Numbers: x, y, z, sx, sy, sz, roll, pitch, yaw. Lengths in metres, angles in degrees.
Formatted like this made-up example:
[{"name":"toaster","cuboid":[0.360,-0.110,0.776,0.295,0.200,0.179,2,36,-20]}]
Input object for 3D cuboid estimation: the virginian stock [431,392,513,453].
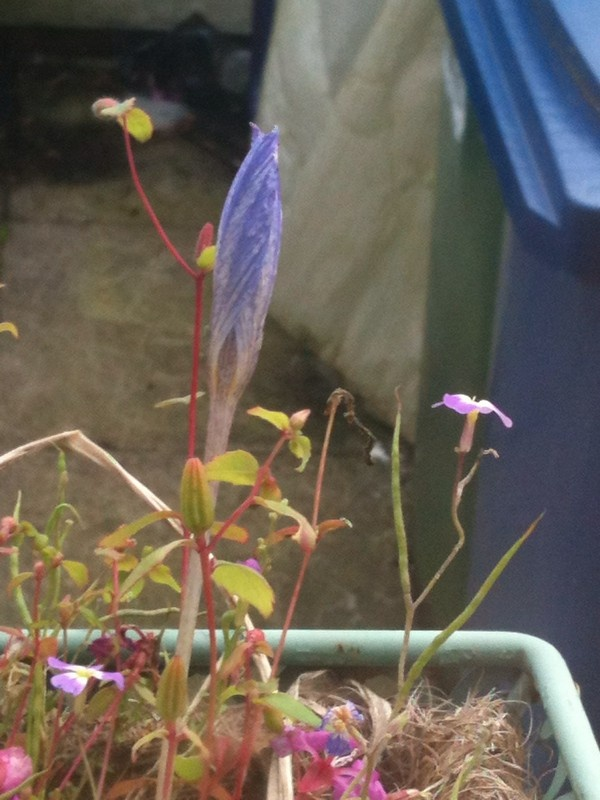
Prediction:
[{"name":"virginian stock","cuboid":[0.103,0.016,0.709,0.052,0.029,0.043,0,1,16]}]
